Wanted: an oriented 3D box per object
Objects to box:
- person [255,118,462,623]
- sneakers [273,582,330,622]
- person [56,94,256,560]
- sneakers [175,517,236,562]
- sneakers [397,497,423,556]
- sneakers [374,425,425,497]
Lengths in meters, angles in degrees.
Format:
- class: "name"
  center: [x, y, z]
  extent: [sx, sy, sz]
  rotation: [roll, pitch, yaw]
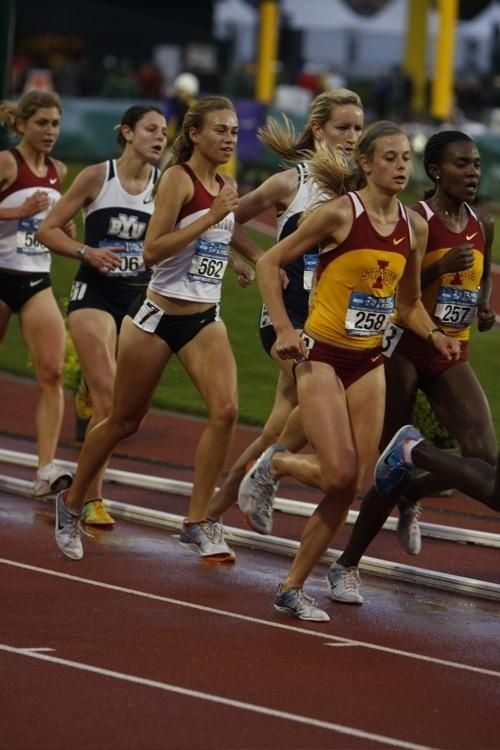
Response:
- class: "person"
  center: [0.345, 0.012, 2.681]
  extent: [0.519, 1.807, 0.689]
  rotation: [3, -4, 33]
- class: "sneakers"
  center: [0.185, 0.854, 2.748]
  extent: [0.257, 0.097, 0.087]
  rotation: [10, 11, 32]
- class: "person"
  center: [-0.304, -0.188, 3.240]
  extent: [0.732, 2.096, 0.896]
  rotation: [7, -3, -27]
- class: "sneakers"
  center: [-0.201, 0.785, 3.503]
  extent: [0.341, 0.134, 0.125]
  rotation: [13, 4, 41]
- class: "sneakers"
  center: [0.749, 0.699, 3.410]
  extent: [0.103, 0.268, 0.114]
  rotation: [-5, -22, -8]
- class: "sneakers"
  center: [0.559, 0.356, 2.961]
  extent: [0.132, 0.341, 0.136]
  rotation: [14, 39, -31]
